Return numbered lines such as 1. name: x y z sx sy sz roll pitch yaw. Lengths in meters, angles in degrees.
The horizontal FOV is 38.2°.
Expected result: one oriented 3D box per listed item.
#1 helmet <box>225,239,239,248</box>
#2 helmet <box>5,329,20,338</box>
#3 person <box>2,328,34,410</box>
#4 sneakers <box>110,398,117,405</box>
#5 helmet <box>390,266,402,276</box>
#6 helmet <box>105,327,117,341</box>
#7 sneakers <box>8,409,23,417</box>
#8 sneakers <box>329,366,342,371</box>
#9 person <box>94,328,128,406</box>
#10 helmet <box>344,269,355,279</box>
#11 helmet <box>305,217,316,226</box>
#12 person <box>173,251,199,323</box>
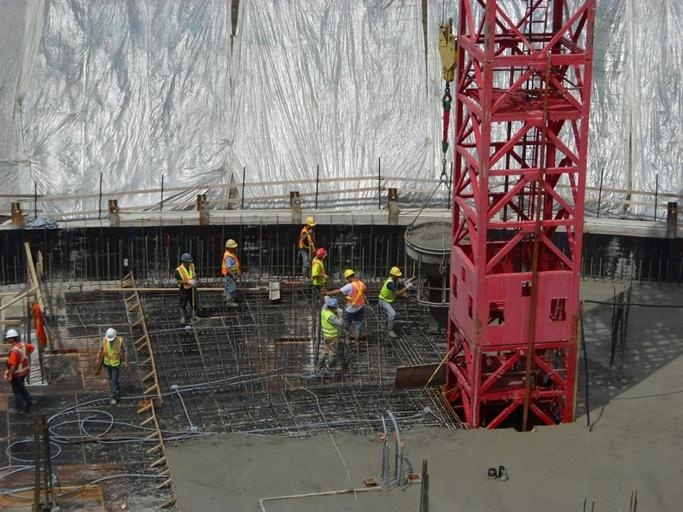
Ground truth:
1. helmet: -2.904 -0.283 26.335 0.251 0.143 0.283 10 13 13
2. helmet: -7.185 1.745 21.739 0.232 0.197 0.315 2 0 10
3. person: -7.041 2.546 21.696 0.592 1.758 1.270 -3 6 -19
4. sneakers: -5.030 3.273 21.909 0.067 0.092 0.212 0 16 -9
5. helmet: 1.302 0.453 24.345 0.227 0.133 0.230 -10 21 -37
6. helmet: -5.057 1.755 21.689 0.216 0.298 0.440 -3 6 -14
7. sneakers: -7.070 3.443 21.491 0.322 0.147 0.180 -1 6 9
8. sneakers: -0.131 2.689 23.148 0.280 0.092 0.189 -2 6 1
9. person: -5.202 2.409 22.365 0.614 1.743 1.707 -3 6 -14
10. helmet: 0.191 0.488 23.787 0.190 0.251 0.333 -1 6 9
11. helmet: -0.873 -0.944 27.661 0.210 0.179 0.312 2 10 -20
12. person: -3.937 0.941 25.397 0.447 1.651 0.763 -3 6 -11
